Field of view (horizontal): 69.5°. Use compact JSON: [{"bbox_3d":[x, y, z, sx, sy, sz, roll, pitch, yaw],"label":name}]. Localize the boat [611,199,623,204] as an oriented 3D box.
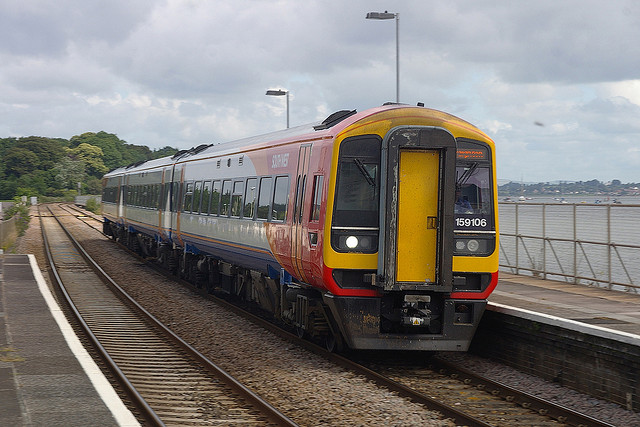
[{"bbox_3d":[7.398,-0.291,11.530,0.227,0.085,0.970,-2,1,31],"label":"boat"}]
